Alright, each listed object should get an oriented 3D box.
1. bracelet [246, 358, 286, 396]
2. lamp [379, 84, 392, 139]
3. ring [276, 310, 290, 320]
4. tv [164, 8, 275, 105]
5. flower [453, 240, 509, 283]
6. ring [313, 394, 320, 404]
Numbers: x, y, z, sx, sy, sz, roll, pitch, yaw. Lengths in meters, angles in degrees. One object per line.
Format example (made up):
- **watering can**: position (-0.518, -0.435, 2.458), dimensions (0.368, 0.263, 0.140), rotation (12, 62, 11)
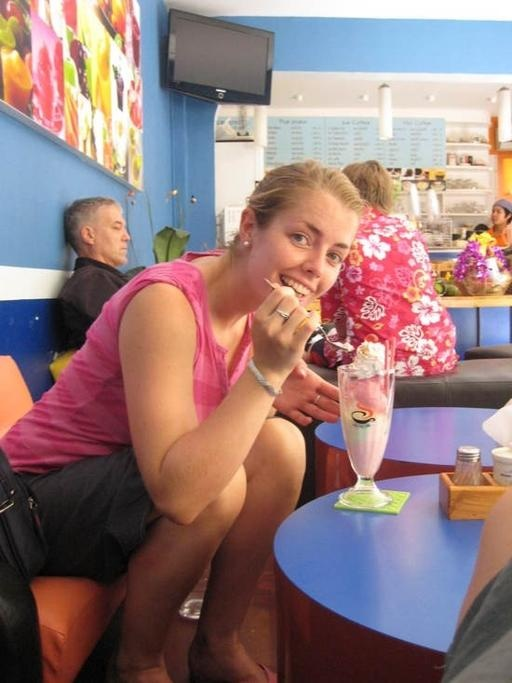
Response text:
- **bracelet**: position (0.011, 0.054, 0.744), dimensions (0.048, 0.013, 0.042), rotation (41, 14, -28)
- **lamp**: position (1.211, -2.170, 4.980), dimensions (0.103, 0.538, 0.259), rotation (0, 5, 9)
- **ring**: position (0.037, -0.035, 0.721), dimensions (0.015, 0.008, 0.013), rotation (40, 13, 9)
- **tv**: position (-0.330, -2.420, 4.510), dimensions (0.953, 0.651, 0.096), rotation (5, 6, -26)
- **flower**: position (1.438, -0.492, 3.309), dimensions (0.343, 0.258, 0.229), rotation (-1, 5, -5)
- **ring**: position (0.125, 0.122, 1.095), dimensions (0.005, 0.015, 0.014), rotation (14, 8, -3)
